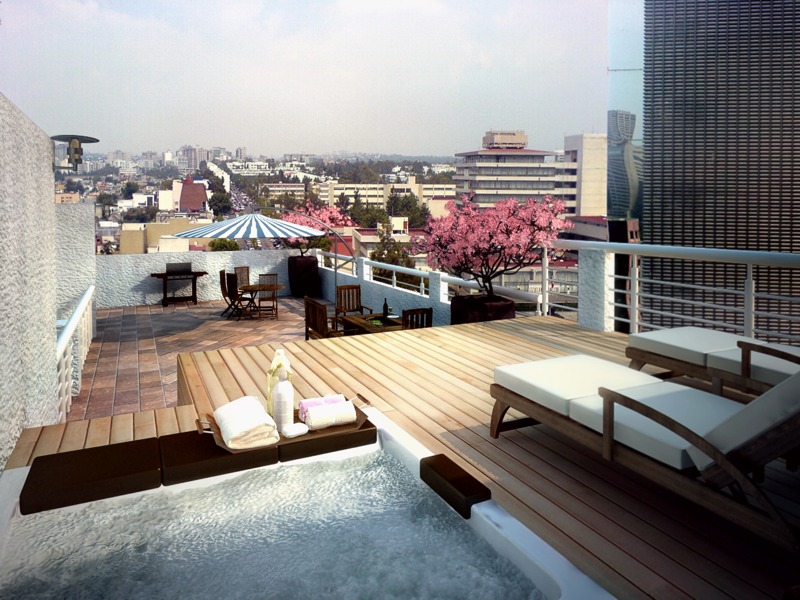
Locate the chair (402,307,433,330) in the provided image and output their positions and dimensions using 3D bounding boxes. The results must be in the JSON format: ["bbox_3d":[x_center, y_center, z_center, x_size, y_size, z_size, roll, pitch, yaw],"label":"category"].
[{"bbox_3d":[0.210,0.208,6.240,0.273,0.445,0.274,-1,5,-20],"label":"chair"}]

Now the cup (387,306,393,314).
[{"bbox_3d":[-0.134,0.148,7.164,0.083,0.121,0.081,-1,9,0],"label":"cup"}]

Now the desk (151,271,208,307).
[{"bbox_3d":[-5.102,-0.325,11.970,1.510,0.907,0.771,-2,3,-31],"label":"desk"}]

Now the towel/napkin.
[{"bbox_3d":[-0.576,0.575,2.566,0.516,0.192,0.357,-4,6,-31],"label":"towel/napkin"}]
